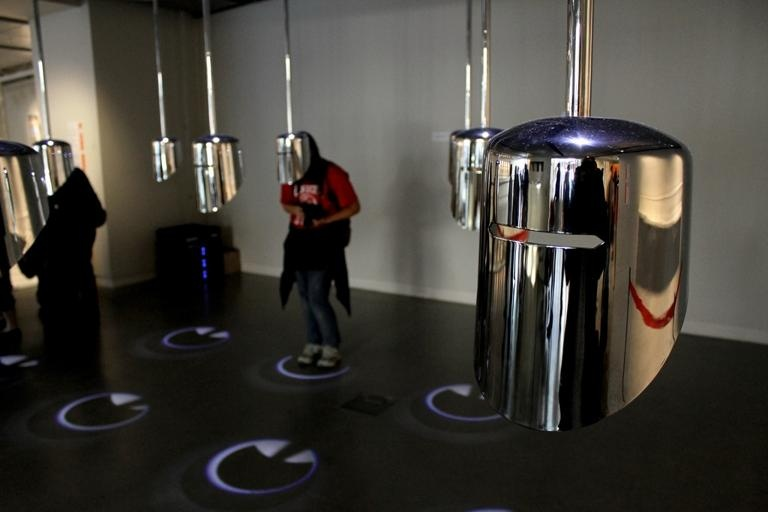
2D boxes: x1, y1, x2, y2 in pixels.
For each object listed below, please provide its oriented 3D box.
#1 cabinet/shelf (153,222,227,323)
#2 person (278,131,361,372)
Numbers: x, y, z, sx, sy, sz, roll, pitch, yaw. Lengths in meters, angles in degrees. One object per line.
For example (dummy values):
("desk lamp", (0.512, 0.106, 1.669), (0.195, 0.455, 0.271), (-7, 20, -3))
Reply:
("cabinet/shelf", (-2.522, 0.099, 8.157), (0.926, 0.711, 1.624), (-6, 16, -20))
("person", (-0.556, 0.040, 5.517), (0.626, 1.910, 0.634), (-8, 16, -29))
